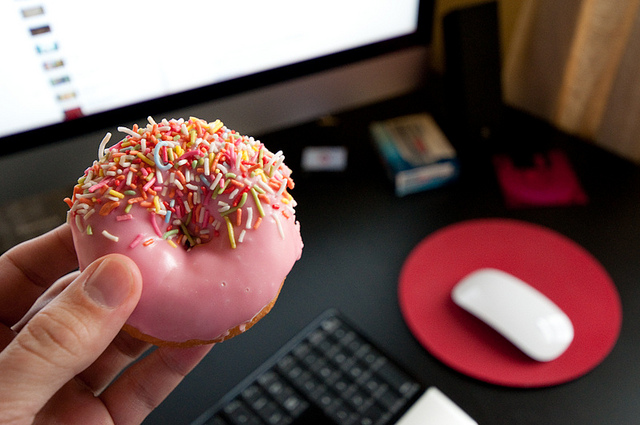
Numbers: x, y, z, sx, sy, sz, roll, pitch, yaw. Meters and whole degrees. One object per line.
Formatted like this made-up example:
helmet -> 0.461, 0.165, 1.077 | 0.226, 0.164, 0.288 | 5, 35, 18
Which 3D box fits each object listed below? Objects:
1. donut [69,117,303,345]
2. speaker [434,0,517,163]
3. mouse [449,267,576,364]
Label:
donut -> -0.163, 0.017, 0.587 | 0.261, 0.159, 0.221 | -15, 49, -2
speaker -> 0.301, -0.256, 0.924 | 0.160, 0.229, 0.268 | -1, 50, 10
mouse -> 0.296, 0.169, 0.766 | 0.168, 0.041, 0.098 | 37, 73, 16
